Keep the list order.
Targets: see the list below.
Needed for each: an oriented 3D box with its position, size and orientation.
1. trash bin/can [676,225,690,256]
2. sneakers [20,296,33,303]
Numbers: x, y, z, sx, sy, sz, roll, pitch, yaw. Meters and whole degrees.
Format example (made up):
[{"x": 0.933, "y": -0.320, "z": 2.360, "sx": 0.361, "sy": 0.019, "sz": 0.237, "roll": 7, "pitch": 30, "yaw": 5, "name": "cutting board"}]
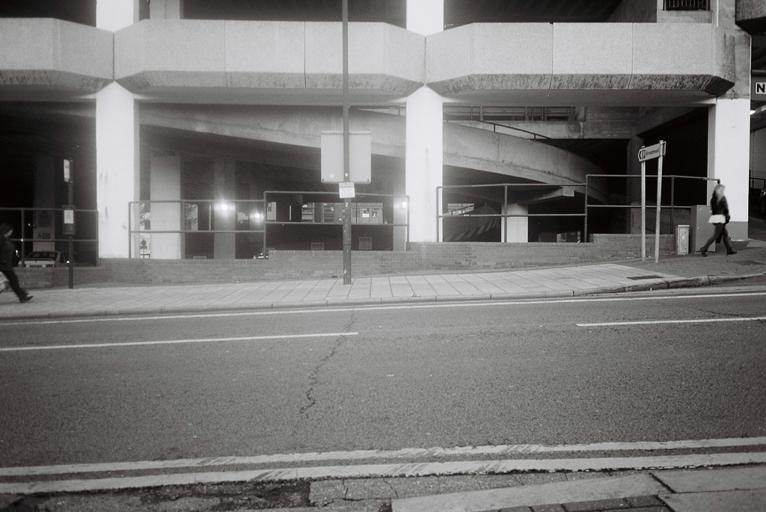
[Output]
[{"x": 10.484, "y": -0.594, "z": 25.484, "sx": 0.597, "sy": 0.952, "sz": 0.278, "roll": -4, "pitch": 4, "yaw": -20, "name": "trash bin/can"}, {"x": -10.835, "y": 1.280, "z": 22.400, "sx": 0.266, "sy": 0.176, "sz": 0.571, "roll": -2, "pitch": 5, "yaw": 7, "name": "sneakers"}]
